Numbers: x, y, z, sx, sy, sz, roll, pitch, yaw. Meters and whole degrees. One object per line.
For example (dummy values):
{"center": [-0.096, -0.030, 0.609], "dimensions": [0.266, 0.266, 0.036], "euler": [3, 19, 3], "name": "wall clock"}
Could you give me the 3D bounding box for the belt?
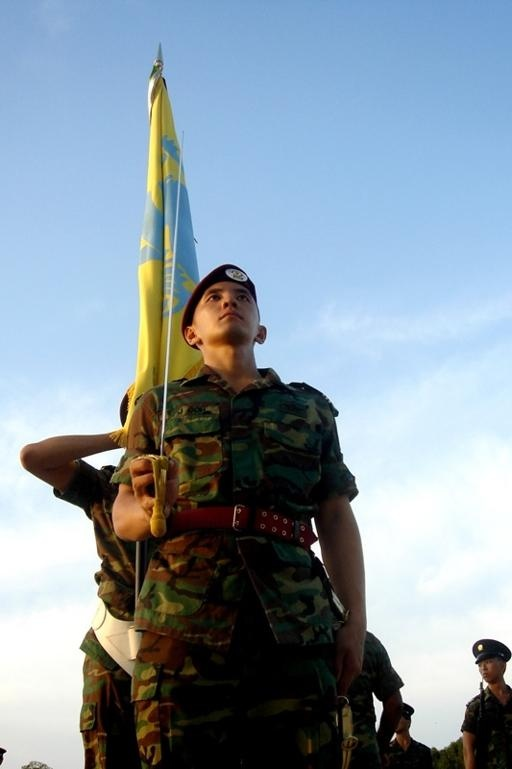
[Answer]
{"center": [-0.014, 0.389, 2.419], "dimensions": [0.430, 0.112, 0.142], "euler": [9, -23, -33], "name": "belt"}
